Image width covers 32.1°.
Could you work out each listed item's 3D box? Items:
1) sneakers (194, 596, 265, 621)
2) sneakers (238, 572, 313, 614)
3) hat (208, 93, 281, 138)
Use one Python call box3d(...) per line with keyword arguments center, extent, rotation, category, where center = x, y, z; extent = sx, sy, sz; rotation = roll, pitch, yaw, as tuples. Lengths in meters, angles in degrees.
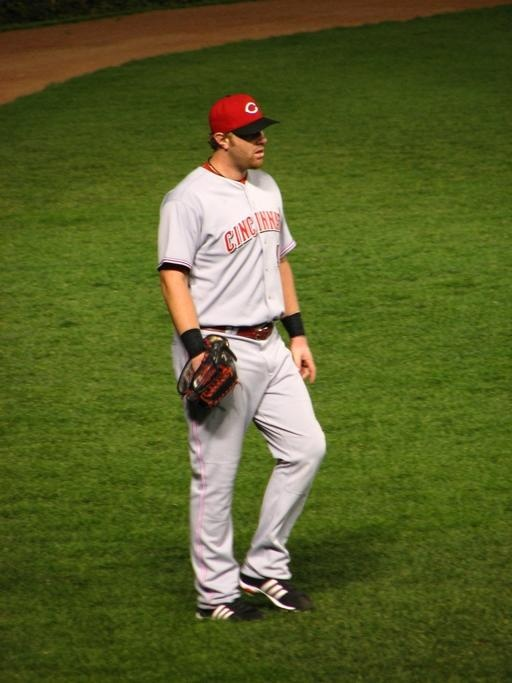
box3d(center=(-0.065, 0.784, 2.633), extent=(0.216, 0.068, 0.070), rotation=(-3, 7, 9), category="sneakers")
box3d(center=(0.056, 0.754, 2.713), extent=(0.234, 0.085, 0.091), rotation=(10, 12, 18), category="sneakers")
box3d(center=(-0.056, -0.657, 2.588), extent=(0.206, 0.084, 0.127), rotation=(6, 27, 28), category="hat")
